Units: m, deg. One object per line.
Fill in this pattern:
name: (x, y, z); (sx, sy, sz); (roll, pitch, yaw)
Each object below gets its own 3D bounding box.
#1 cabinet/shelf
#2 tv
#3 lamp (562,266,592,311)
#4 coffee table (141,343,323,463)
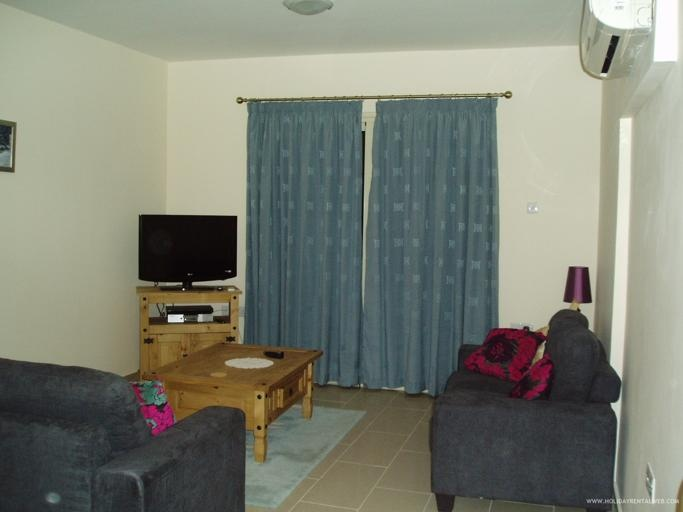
cabinet/shelf: (-1.376, 0.683, 5.302); (0.838, 0.862, 0.358); (0, -1, -9)
tv: (-1.521, -0.063, 5.780); (0.672, 0.627, 0.095); (0, 4, -11)
lamp: (2.073, 0.275, 5.146); (0.227, 0.399, 0.238); (0, 12, 19)
coffee table: (-0.835, 0.919, 4.314); (0.857, 0.479, 0.871); (1, 3, 21)
